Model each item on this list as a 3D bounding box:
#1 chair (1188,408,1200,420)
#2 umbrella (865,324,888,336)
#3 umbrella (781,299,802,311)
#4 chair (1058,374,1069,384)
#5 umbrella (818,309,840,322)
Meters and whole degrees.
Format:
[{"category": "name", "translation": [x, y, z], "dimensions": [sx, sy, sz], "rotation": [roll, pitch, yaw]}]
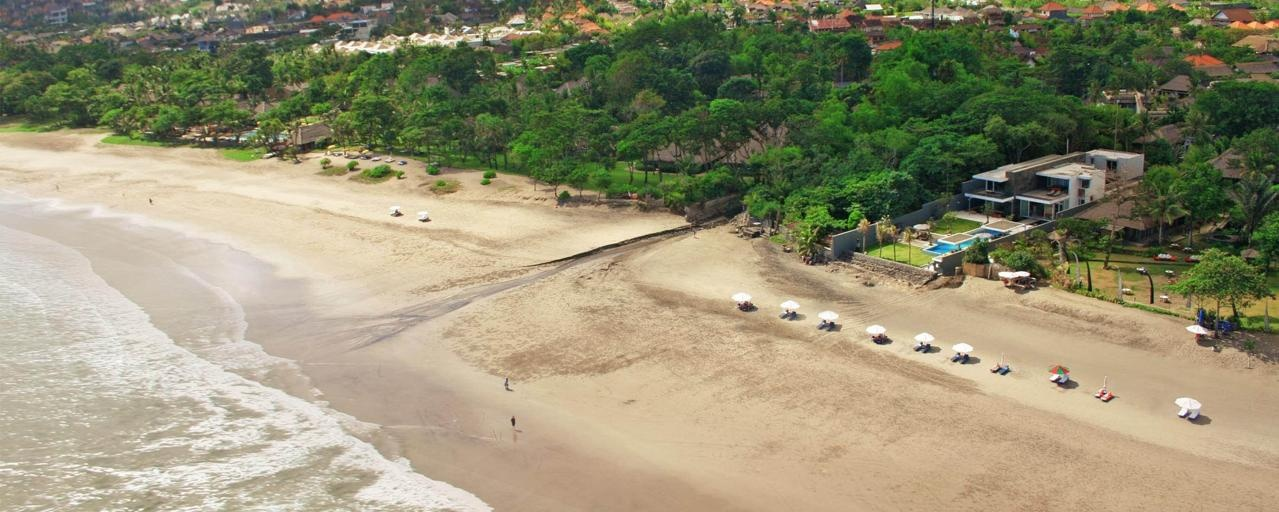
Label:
[{"category": "chair", "translation": [104.066, 29.524, 201.283], "dimensions": [2.419, 1.831, 1.014], "rotation": [-7, 27, -15]}, {"category": "umbrella", "translation": [46.522, 14.592, 209.861], "dimensions": [3.381, 1.830, 2.249], "rotation": [-12, 26, -27]}, {"category": "umbrella", "translation": [30.384, 9.907, 213.783], "dimensions": [2.908, 0.949, 2.314], "rotation": [2, 17, 10]}, {"category": "chair", "translation": [80.787, 23.358, 204.628], "dimensions": [2.055, 1.731, 1.033], "rotation": [-7, 27, -14]}, {"category": "umbrella", "translation": [37.215, 11.874, 211.628], "dimensions": [2.856, 1.002, 2.601], "rotation": [-19, 28, -32]}]
